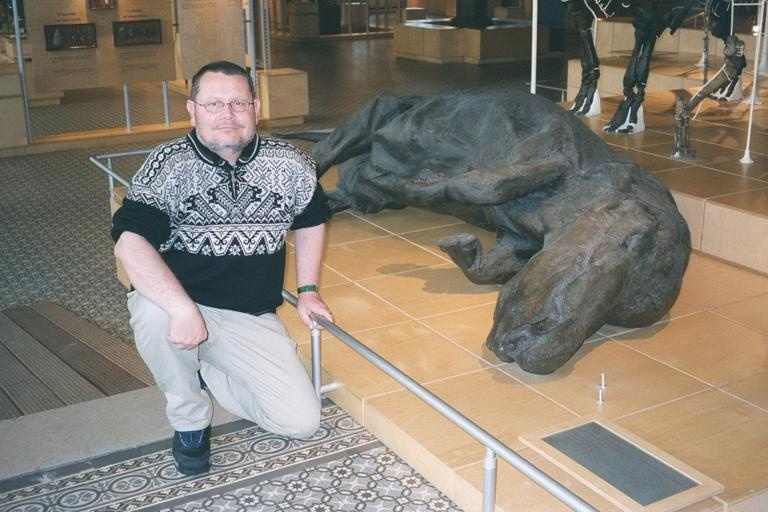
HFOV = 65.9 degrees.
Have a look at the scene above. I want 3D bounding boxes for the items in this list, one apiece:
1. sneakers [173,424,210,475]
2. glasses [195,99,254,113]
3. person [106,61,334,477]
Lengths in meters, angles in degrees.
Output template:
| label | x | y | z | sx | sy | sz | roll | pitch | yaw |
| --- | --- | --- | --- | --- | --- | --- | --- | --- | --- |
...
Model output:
| label | x | y | z | sx | sy | sz | roll | pitch | yaw |
| --- | --- | --- | --- | --- | --- | --- | --- | --- | --- |
| sneakers | -0.961 | 0.997 | 3.021 | 0.196 | 0.217 | 0.263 | 2 | -4 | -10 |
| glasses | -0.783 | -0.734 | 2.893 | 0.285 | 0.066 | 0.106 | -3 | 21 | -10 |
| person | -0.795 | 0.017 | 2.991 | 1.011 | 1.900 | 0.697 | -3 | 24 | -6 |
